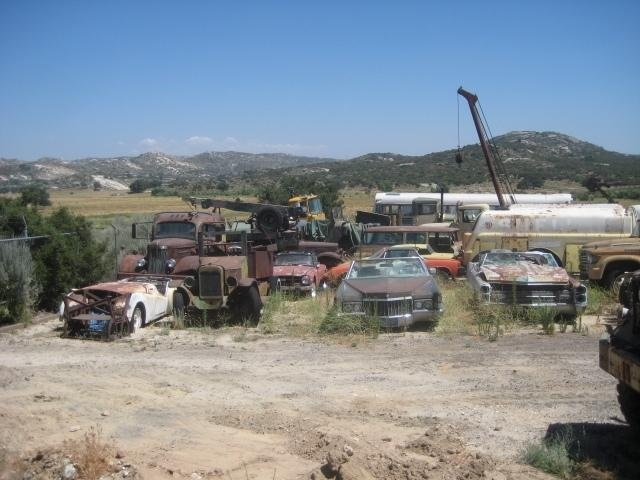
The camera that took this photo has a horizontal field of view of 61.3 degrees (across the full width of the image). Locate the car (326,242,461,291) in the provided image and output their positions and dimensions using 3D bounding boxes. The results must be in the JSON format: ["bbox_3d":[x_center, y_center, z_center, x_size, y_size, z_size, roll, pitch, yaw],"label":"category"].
[{"bbox_3d":[2.512,0.737,18.379,4.147,1.321,1.808,-2,3,4],"label":"car"}]

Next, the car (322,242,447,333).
[{"bbox_3d":[1.491,1.296,12.650,2.439,1.470,1.858,-3,6,-12],"label":"car"}]

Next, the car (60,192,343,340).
[{"bbox_3d":[-3.160,0.423,14.918,3.573,2.531,6.087,-1,-1,8],"label":"car"}]
